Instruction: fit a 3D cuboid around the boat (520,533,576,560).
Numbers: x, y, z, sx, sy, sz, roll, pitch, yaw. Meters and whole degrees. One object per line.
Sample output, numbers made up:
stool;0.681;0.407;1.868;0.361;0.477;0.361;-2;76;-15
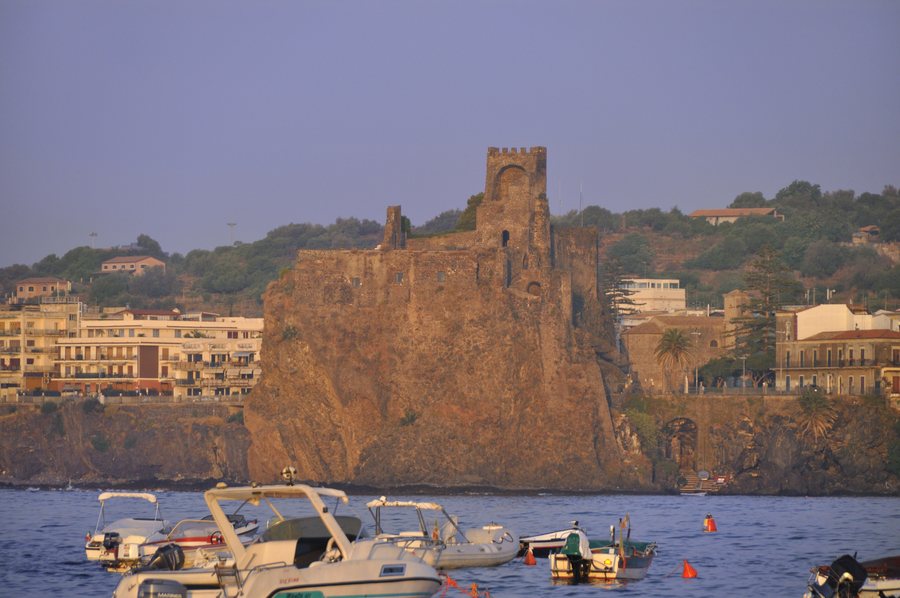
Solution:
boat;7.142;18.002;171.125;4.750;1.327;1.517;-8;-7;-3
